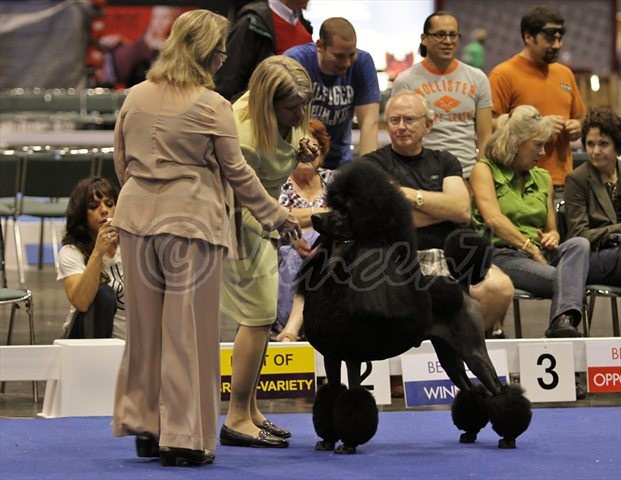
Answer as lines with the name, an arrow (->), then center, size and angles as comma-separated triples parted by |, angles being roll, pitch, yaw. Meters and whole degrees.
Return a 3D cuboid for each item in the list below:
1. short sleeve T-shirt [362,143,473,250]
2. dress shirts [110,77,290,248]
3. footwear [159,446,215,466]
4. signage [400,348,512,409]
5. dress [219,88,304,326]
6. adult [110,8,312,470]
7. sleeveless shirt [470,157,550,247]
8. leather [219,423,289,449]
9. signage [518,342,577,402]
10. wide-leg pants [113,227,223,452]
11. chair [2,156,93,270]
short sleeve T-shirt -> 0.525, -0.204, 4.539 | 0.536, 0.546, 0.304 | -2, -5, -21
dress shirts -> -0.523, -0.351, 4.211 | 0.751, 0.757, 0.298 | 1, -3, -13
footwear -> -0.566, 0.985, 4.178 | 0.247, 0.116, 0.088 | 0, -1, -19
signage -> 0.805, 0.744, 5.085 | 0.571, 0.336, 0.012 | -3, 6, -5
dress -> -0.212, -0.112, 4.546 | 0.379, 1.333, 0.377 | 5, 15, -2
adult -> -0.610, -0.012, 4.326 | 0.734, 2.089, 0.544 | 7, 10, 28
sleeveless shirt -> 1.342, -0.243, 5.951 | 0.463, 0.582, 0.329 | 9, -9, -20
leather -> -0.278, 0.981, 4.540 | 0.337, 0.125, 0.122 | 1, -4, 1
signage -> 1.326, 0.747, 5.135 | 0.328, 0.340, 0.037 | 0, -9, -5
wide-leg pants -> -0.663, 0.401, 4.253 | 0.490, 1.127, 0.358 | 1, 1, 7
chair -> -2.164, -0.216, 7.180 | 0.405, 0.657, 0.448 | 20, -3, -34
